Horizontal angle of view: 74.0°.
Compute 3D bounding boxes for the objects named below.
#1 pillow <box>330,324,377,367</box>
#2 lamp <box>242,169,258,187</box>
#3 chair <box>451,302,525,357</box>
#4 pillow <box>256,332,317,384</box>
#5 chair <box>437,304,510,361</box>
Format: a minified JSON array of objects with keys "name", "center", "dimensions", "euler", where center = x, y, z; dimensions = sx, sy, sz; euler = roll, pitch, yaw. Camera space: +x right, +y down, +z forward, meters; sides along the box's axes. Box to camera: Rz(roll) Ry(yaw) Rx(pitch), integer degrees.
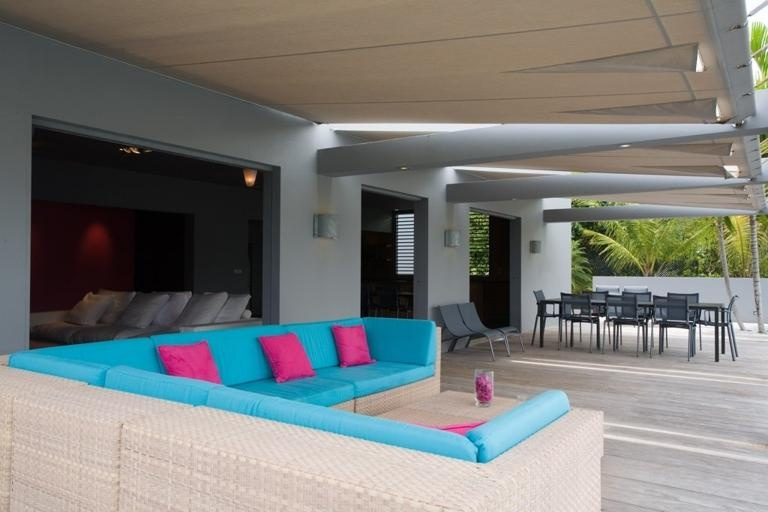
[{"name":"pillow","center":[-0.345,0.990,5.705],"dimensions":[0.284,0.426,0.539],"euler":[14,6,38]},{"name":"lamp","center":[-1.713,-1.021,6.542],"dimensions":[0.193,0.205,0.184],"euler":[2,4,16]},{"name":"chair","center":[1.769,1.289,9.277],"dimensions":[0.904,0.812,1.294],"euler":[-2,1,-35]},{"name":"pillow","center":[-0.928,0.960,4.878],"dimensions":[0.485,0.421,0.141],"euler":[1,-35,-40]},{"name":"chair","center":[1.779,1.306,9.309],"dimensions":[1.235,0.738,0.931],"euler":[2,3,44]}]
